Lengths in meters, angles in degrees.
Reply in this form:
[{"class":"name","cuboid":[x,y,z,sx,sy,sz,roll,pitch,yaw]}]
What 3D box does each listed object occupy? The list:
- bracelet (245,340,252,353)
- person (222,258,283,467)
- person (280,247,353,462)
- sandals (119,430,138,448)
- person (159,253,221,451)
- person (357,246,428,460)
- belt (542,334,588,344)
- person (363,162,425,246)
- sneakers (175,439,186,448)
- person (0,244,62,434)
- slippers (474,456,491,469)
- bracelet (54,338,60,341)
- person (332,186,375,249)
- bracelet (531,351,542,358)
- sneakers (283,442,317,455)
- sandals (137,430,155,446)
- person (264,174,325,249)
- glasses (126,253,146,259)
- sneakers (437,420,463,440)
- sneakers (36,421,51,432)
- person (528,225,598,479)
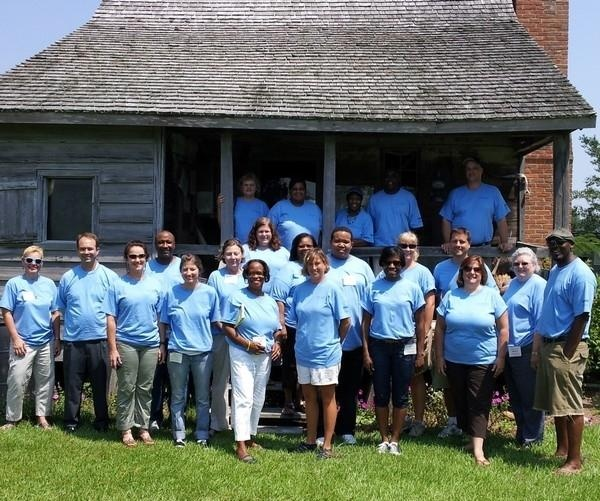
[{"class":"bracelet","cuboid":[-0.673,1.249,18.701,0.042,0.113,0.094,2,18,-15]},{"class":"person","cuboid":[-0.688,1.426,18.792,0.689,2.508,1.132,3,14,13]},{"class":"person","cuboid":[0.206,1.350,18.739,0.762,2.624,0.876,3,14,11]},{"class":"sandals","cuboid":[-2.293,2.507,18.978,0.208,0.147,0.541,2,0,-15]},{"class":"person","cuboid":[-1.462,1.329,19.085,0.783,2.481,1.013,-2,14,-7]},{"class":"person","cuboid":[1.234,1.283,19.043,0.842,2.571,0.958,1,14,3]},{"class":"belt","cuboid":[3.352,1.146,18.479,0.292,0.109,0.215,-1,0,-6]},{"class":"person","cuboid":[1.507,-0.710,22.466,1.347,1.718,0.565,-1,-5,4]},{"class":"sneakers","cuboid":[-1.590,2.548,18.861,0.155,0.062,0.231,-1,14,-6]},{"class":"person","cuboid":[-3.707,1.182,19.632,0.788,2.336,0.927,-2,14,-10]},{"class":"slippers","cuboid":[2.356,2.744,18.509,0.192,0.046,0.241,1,14,2]},{"class":"bracelet","cuboid":[-3.369,1.232,19.804,0.040,0.043,0.045,-1,-12,-5]},{"class":"person","cuboid":[0.827,-0.464,21.554,0.844,1.101,0.734,0,0,4]},{"class":"bracelet","cuboid":[3.106,1.374,18.900,0.092,0.090,0.085,-3,-5,34]},{"class":"sneakers","cuboid":[-0.006,2.618,18.929,0.417,0.177,0.141,3,-8,6]},{"class":"sandals","cuboid":[-2.065,2.466,19.094,0.202,0.188,0.478,-1,14,-7]},{"class":"person","cuboid":[-0.086,-0.585,21.879,1.227,1.359,0.701,0,-4,-15]},{"class":"glasses","cuboid":[-2.181,0.079,19.111,0.226,0.081,0.098,-5,15,-20]},{"class":"sneakers","cuboid":[2.071,2.492,19.764,0.437,0.184,0.133,5,-10,-27]},{"class":"sneakers","cuboid":[-3.498,2.405,19.508,0.204,0.075,0.371,-2,14,-11]},{"class":"person","cuboid":[3.421,1.262,18.423,0.696,2.939,1.103,-3,14,-13]}]
